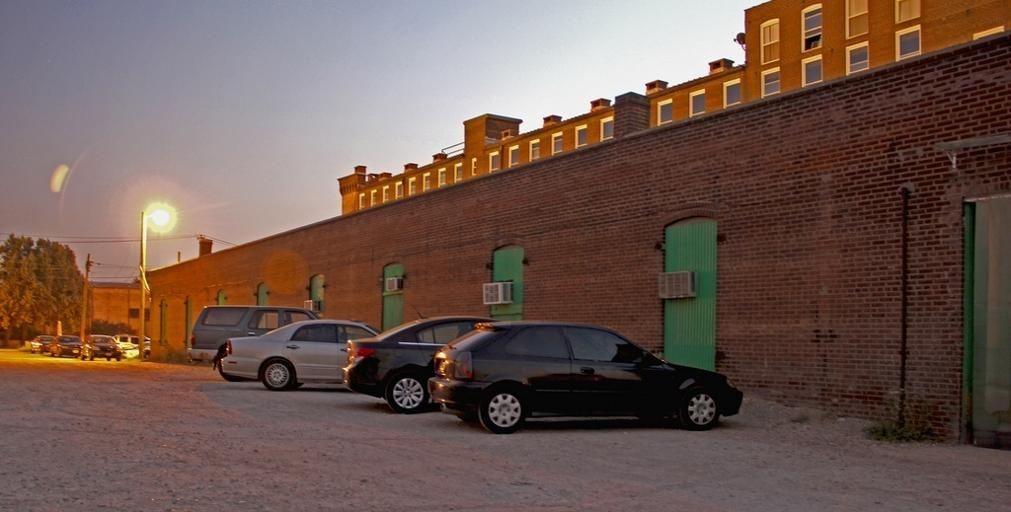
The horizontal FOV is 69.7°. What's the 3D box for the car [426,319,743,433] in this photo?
[{"bbox_3d":[1.950,3.042,19.121,6.869,1.911,3.075,0,-4,-14],"label":"car"}]
